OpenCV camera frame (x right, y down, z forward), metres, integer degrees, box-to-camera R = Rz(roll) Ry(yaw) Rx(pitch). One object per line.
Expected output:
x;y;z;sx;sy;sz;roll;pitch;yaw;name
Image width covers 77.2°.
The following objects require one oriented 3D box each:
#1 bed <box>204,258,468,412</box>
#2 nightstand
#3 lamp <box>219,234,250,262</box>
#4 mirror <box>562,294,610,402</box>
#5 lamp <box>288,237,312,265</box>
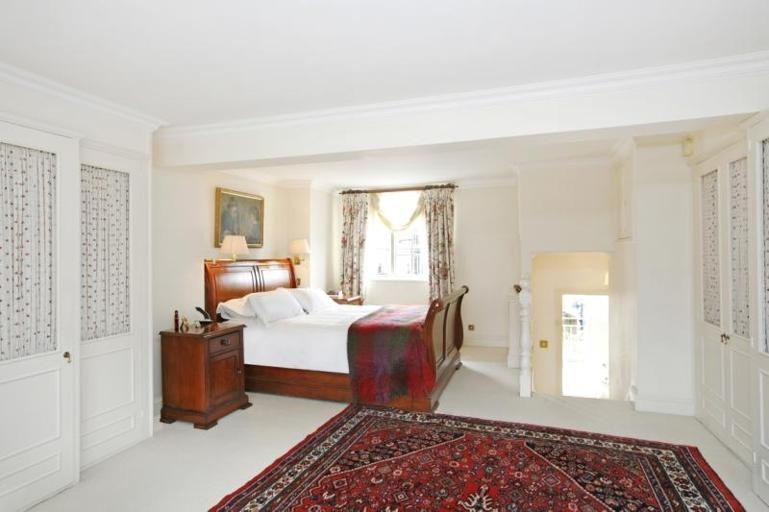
-0.573;0.909;6.532;2.629;1.579;1.923;-1;0;17;bed
-2.090;1.378;5.709;0.716;0.980;0.821;-2;-1;24;nightstand
-2.012;-0.101;6.570;0.345;0.341;0.360;2;14;4;lamp
4.031;1.838;9.721;0.832;1.956;0.619;-2;0;17;mirror
-1.410;-0.073;8.059;0.369;0.442;0.420;0;-2;-7;lamp
